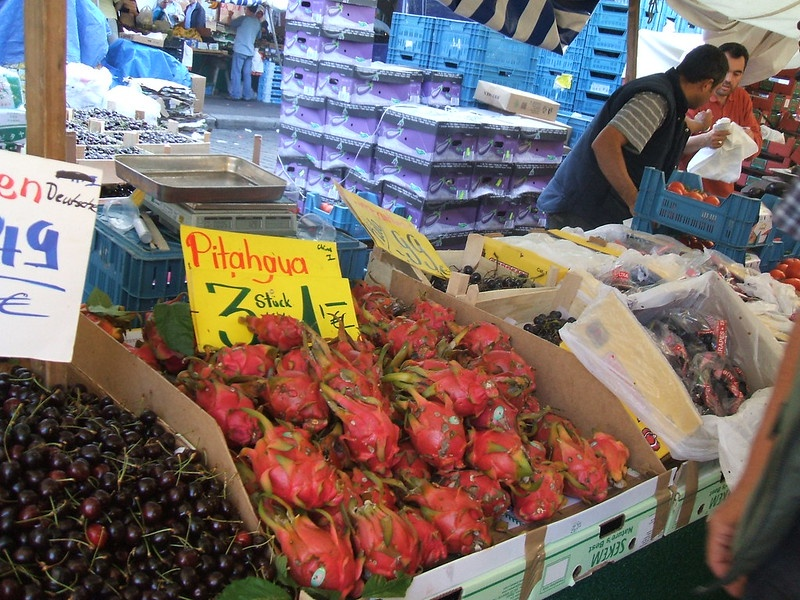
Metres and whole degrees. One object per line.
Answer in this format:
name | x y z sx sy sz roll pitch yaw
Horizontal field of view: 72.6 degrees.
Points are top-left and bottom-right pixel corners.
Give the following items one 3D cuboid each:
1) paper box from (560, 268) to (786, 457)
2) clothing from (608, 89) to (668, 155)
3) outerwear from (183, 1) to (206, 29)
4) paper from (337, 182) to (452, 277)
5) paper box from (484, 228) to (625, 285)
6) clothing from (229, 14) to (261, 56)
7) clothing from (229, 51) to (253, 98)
paper box | 0.984 0.235 2.000 0.410 0.211 0.537 -17 66 -51
clothing | 1.619 -1.200 3.658 0.415 0.382 0.187 6 26 -22
outerwear | -4.983 -6.919 13.287 0.535 0.653 0.460 -5 31 -38
paper | -0.063 -0.293 2.440 0.497 0.198 0.406 17 36 -41
paper box | 0.862 -0.255 2.996 0.471 0.145 0.428 -10 32 -38
clothing | -3.922 -6.738 13.894 0.551 0.993 0.687 7 25 -19
clothing | -4.407 -6.250 14.947 0.430 1.387 0.674 46 47 16
